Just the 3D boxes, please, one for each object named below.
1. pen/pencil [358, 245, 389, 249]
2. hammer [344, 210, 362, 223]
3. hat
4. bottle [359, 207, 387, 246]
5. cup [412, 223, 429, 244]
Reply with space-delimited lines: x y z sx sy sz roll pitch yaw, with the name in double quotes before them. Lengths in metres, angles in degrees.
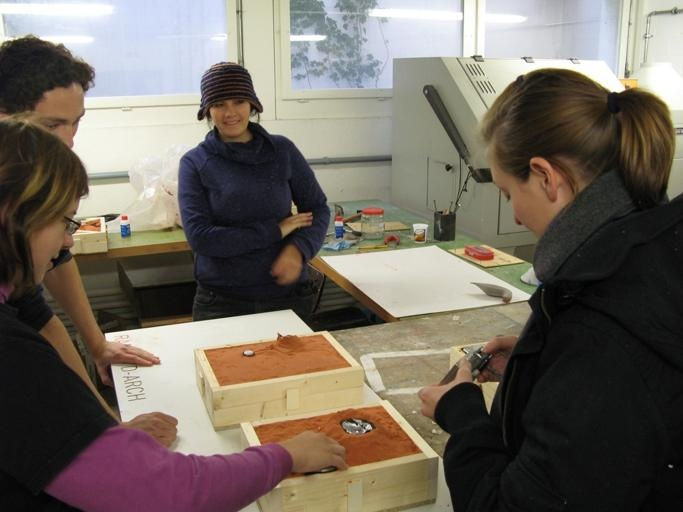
"pen/pencil" 0.187 -0.052 2.900 0.185 0.026 0.019 -2 5 -14
"hammer" 0.088 -0.264 3.395 0.044 0.043 0.309 23 20 10
"hat" -0.494 -0.707 2.253 0.260 0.211 0.254 -8 12 -16
"bottle" 0.179 -0.176 3.083 0.187 0.206 0.183 -1 15 -1
"cup" 0.459 -0.133 3.014 0.107 0.101 0.106 -2 14 1
